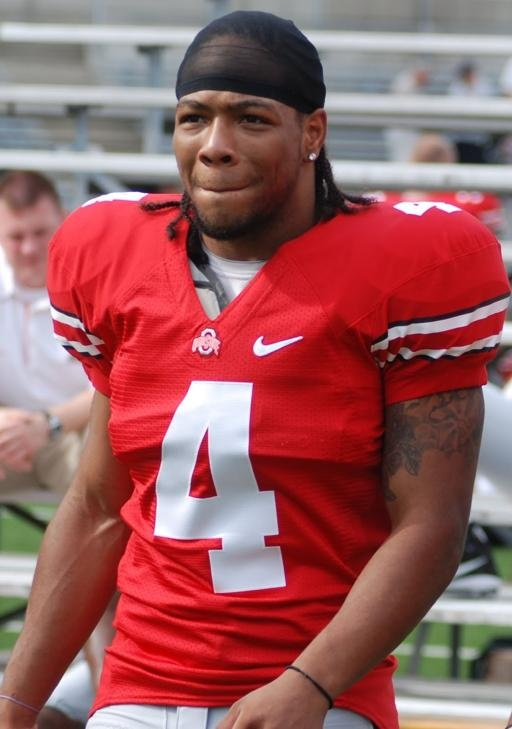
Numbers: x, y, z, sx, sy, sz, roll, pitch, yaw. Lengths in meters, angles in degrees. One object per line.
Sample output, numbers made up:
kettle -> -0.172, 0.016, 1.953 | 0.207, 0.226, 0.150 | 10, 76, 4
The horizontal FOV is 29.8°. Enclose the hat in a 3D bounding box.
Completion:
hat -> 0.001, -0.383, 1.328 | 0.177, 0.097, 0.163 | 11, 7, 9
